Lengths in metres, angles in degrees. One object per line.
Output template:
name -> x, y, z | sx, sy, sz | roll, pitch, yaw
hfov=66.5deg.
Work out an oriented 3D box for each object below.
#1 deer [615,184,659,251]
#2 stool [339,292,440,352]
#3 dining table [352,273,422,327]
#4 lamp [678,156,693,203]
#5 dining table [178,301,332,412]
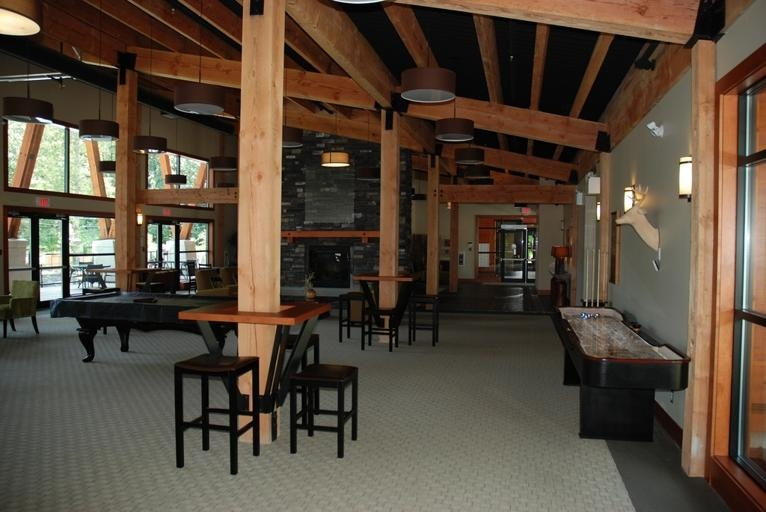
deer -> 2.996, -0.448, 6.898 | 0.461, 0.713, 0.755 | 3, 10, 19
stool -> 0.101, 1.017, 9.781 | 1.228, 0.717, 1.216 | 1, 5, 17
dining table -> 0.040, 0.795, 9.699 | 1.024, 0.924, 1.008 | 1, 1, 15
lamp -> 2.994, -0.764, 5.791 | 0.110, 0.433, 0.692 | 3, 10, 19
dining table -> -1.231, 0.923, 6.082 | 1.143, 1.057, 1.122 | 1, 6, 11
